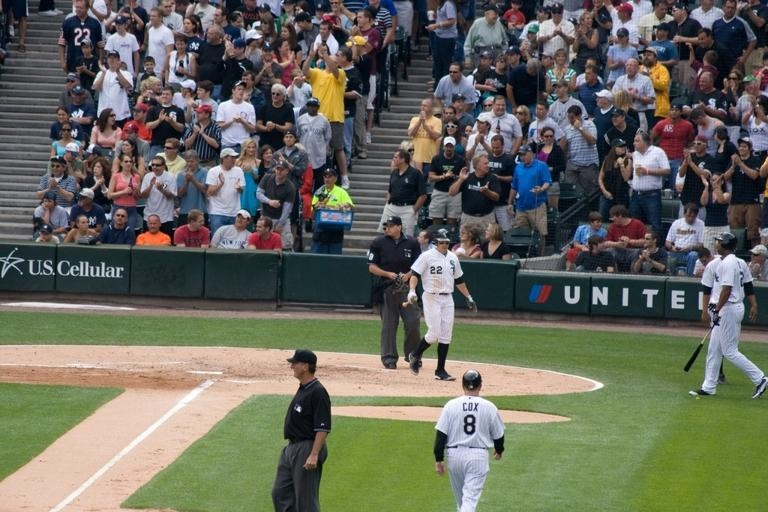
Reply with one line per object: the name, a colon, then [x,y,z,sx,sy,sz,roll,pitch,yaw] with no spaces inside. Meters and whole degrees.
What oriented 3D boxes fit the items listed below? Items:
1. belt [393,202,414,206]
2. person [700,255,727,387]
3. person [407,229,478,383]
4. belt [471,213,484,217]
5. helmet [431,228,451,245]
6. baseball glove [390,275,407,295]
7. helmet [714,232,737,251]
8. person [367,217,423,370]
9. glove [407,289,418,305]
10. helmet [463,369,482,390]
belt: [0.528,-1.334,41.528,0.456,0.088,0.118,3,3,-5]
person: [7.425,1.351,36.606,0.562,3.196,0.531,-1,0,2]
person: [1.159,1.061,36.577,1.412,3.365,0.883,2,3,-13]
belt: [2.453,-1.053,41.830,0.269,0.069,0.062,2,3,-8]
helmet: [1.344,-0.446,36.432,0.289,0.291,0.430,2,-4,-9]
baseball glove: [0.371,0.604,36.838,0.128,0.425,0.289,10,24,10]
helmet: [7.627,-0.355,36.361,0.454,0.397,0.337,-4,0,32]
person: [0.375,0.785,37.075,1.249,3.636,1.118,-6,16,-15]
glove: [0.635,0.879,36.203,0.201,0.110,0.304,-6,-41,-11]
helmet: [1.722,2.346,31.007,0.365,0.333,0.571,2,-1,6]
